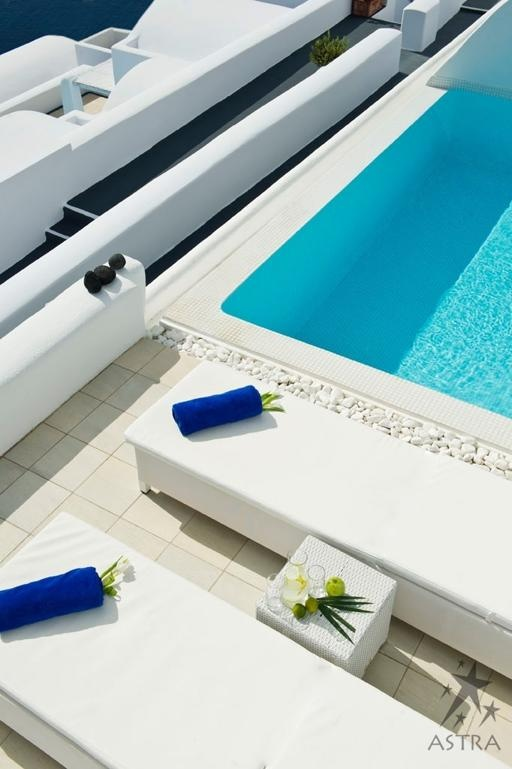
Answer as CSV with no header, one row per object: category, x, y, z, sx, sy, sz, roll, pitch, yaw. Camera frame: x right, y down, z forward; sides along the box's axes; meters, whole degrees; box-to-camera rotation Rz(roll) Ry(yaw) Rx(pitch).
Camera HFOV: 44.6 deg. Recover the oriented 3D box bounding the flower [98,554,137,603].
flower,-0.405,0.572,1.826,0.059,0.050,0.103,32,15,18
